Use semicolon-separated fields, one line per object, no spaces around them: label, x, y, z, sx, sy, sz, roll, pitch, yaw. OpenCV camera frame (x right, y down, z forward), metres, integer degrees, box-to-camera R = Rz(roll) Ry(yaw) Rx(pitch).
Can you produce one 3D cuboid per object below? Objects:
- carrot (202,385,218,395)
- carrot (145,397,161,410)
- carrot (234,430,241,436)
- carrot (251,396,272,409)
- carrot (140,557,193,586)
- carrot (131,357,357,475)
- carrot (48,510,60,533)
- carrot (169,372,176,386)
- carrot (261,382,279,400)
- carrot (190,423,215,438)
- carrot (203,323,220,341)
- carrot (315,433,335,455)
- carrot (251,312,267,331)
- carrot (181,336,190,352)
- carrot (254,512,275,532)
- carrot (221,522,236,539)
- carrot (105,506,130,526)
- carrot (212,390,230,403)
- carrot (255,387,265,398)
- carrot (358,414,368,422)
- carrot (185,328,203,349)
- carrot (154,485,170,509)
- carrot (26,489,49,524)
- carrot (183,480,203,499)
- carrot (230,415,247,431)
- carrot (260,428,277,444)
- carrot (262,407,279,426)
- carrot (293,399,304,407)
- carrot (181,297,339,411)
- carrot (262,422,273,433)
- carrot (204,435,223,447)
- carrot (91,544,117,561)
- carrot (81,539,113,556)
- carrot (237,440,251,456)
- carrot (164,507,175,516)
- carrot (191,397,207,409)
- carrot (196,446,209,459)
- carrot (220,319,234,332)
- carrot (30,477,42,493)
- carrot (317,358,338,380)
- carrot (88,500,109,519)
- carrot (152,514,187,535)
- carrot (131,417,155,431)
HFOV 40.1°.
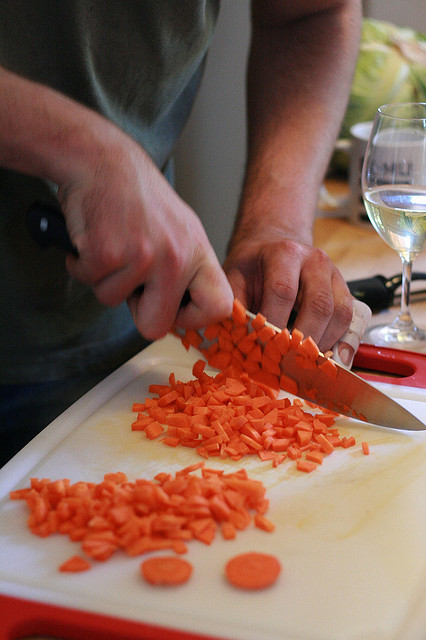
carrot;-0.008;0.101;0.861;0.015;0.014;0.004;27;25;37
carrot;-0.090;0.121;0.853;0.015;0.005;0.014;3;37;19
carrot;0.033;0.151;0.780;0.006;0.002;0.006;47;18;0
carrot;0.067;0.115;0.816;0.024;0.006;0.013;-13;61;-22
carrot;-0.044;0.234;0.548;0.048;0.015;0.032;2;39;-7
carrot;0.041;0.138;0.792;0.186;0.032;0.161;13;20;9
carrot;-0.166;0.210;0.610;0.012;0.005;0.019;-9;53;11
carrot;-0.065;0.094;0.922;0.010;0.008;0.027;-19;55;19
carrot;0.082;0.106;0.855;0.008;0.014;0.027;-4;22;-38
carrot;-0.015;0.145;0.767;0.020;0.005;0.020;18;3;7
carrot;-0.002;0.016;0.831;0.018;0.027;0.005;42;58;-2
carrot;0.146;0.159;0.748;0.017;0.006;0.030;-28;52;-17
carrot;0.063;0.001;0.797;0.016;0.018;0.021;35;9;0
carrot;-0.043;0.037;0.915;0.008;0.031;0.008;-23;53;6
carrot;0.053;0.211;0.611;0.010;0.007;0.019;-9;21;-37
carrot;0.016;0.216;0.604;0.016;0.012;0.021;8;38;0
carrot;-0.095;0.194;0.583;0.020;0.018;0.005;-1;43;40
carrot;0.011;0.107;0.824;0.015;0.004;0.015;-9;30;-38
carrot;0.068;0.105;0.851;0.003;0.010;0.014;-13;59;-46
carrot;0.203;0.134;0.797;0.009;0.006;0.002;35;72;16
carrot;-0.027;0.025;0.877;0.034;0.017;0.008;48;47;-1
carrot;-0.053;0.183;0.603;0.024;0.006;0.013;46;58;-1
carrot;-0.185;0.202;0.640;0.019;0.012;0.053;-22;25;-18
carrot;-0.021;0.177;0.614;0.019;0.018;0.006;12;-2;32
carrot;0.032;0.136;0.776;0.005;0.019;0.019;50;14;-17
carrot;0.071;0.151;0.764;0.016;0.014;0.006;-22;64;-38
carrot;0.079;0.132;0.801;0.016;0.006;0.026;-16;38;8
carrot;0.123;0.121;0.851;0.011;0.004;0.012;34;22;-5
carrot;0.076;0.067;0.836;0.293;0.020;0.077;23;55;-21
carrot;0.072;0.142;0.779;0.007;0.010;0.010;-15;64;6
carrot;0.001;0.154;0.754;0.026;0.010;0.007;-29;2;6
carrot;-0.105;0.225;0.565;0.024;0.014;0.011;-19;46;-30
carrot;-0.114;0.221;0.568;0.025;0.007;0.012;-8;39;-15
carrot;0.039;0.164;0.747;0.018;0.005;0.018;31;72;22
carrot;-0.044;0.197;0.600;0.009;0.002;0.007;31;50;7
carrot;-0.020;0.117;0.825;0.013;0.013;0.013;-21;74;-8
carrot;-0.013;0.168;0.746;0.015;0.005;0.011;36;20;-45
carrot;0.019;0.006;0.809;0.015;0.015;0.007;37;45;10
carrot;-0.208;0.196;0.693;0.011;0.005;0.019;13;27;-24
carrot;0.155;0.065;0.784;0.025;0.025;0.009;42;54;21
carrot;-0.120;0.194;0.600;0.014;0.005;0.016;18;59;17
carrot;-0.044;0.203;0.591;0.034;0.016;0.017;7;38;-2
carrot;-0.098;0.143;0.810;0.015;0.007;0.025;13;22;35
